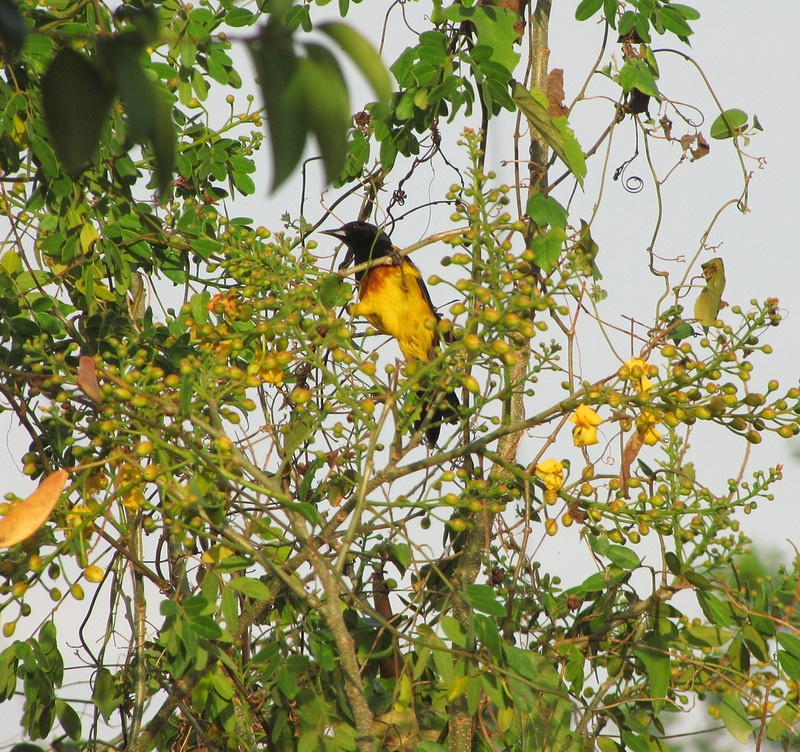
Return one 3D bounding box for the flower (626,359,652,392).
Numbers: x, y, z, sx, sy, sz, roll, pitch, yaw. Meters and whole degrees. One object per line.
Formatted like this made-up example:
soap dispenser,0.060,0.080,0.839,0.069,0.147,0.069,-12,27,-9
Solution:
flower,0.566,0.003,4.160,0.038,0.027,0.063,11,-53,50
